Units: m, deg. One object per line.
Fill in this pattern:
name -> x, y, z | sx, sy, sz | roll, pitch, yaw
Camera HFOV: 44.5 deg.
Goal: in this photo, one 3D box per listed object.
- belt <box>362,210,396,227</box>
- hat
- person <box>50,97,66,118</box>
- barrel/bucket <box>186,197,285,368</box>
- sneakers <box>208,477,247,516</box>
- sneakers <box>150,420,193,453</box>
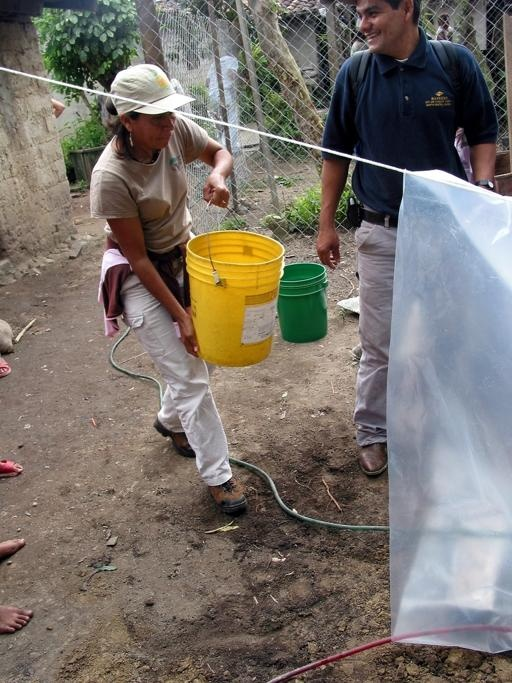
belt -> 0.480, -0.475, 2.429 | 0.097, 0.026, 0.085 | 11, 7, -18
hat -> -0.356, -0.835, 2.070 | 0.263, 0.158, 0.273 | -10, 24, -7
person -> -2.340, -2.738, 7.341 | 0.126, 0.214, 1.367 | -14, 25, -12
barrel/bucket -> -0.060, -0.129, 2.247 | 0.358, 0.472, 0.422 | -6, 25, 5
sneakers -> -0.111, 0.637, 2.613 | 0.086, 0.098, 0.221 | -24, 24, -32
sneakers -> -0.393, 0.453, 2.944 | 0.085, 0.229, 0.104 | -48, 2, -32
